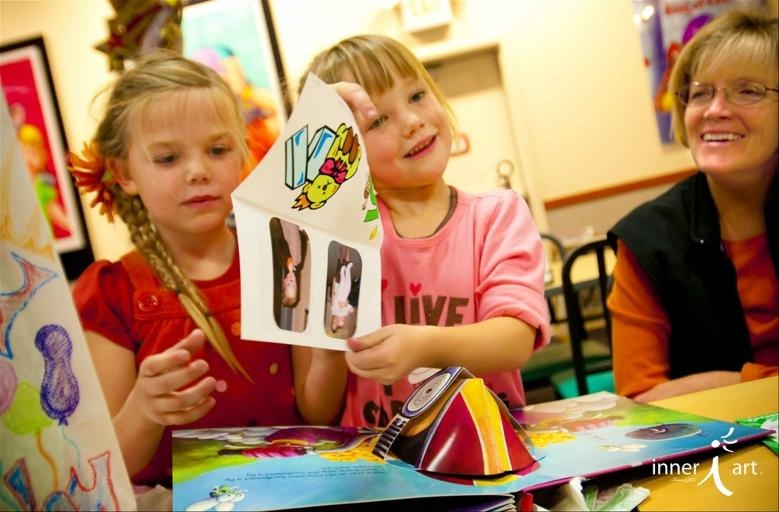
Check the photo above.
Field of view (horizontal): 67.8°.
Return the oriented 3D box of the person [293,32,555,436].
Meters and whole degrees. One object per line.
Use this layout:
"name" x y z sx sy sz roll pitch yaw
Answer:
"person" 0.033 0.063 1.106 0.526 0.780 0.434 -2 4 -22
